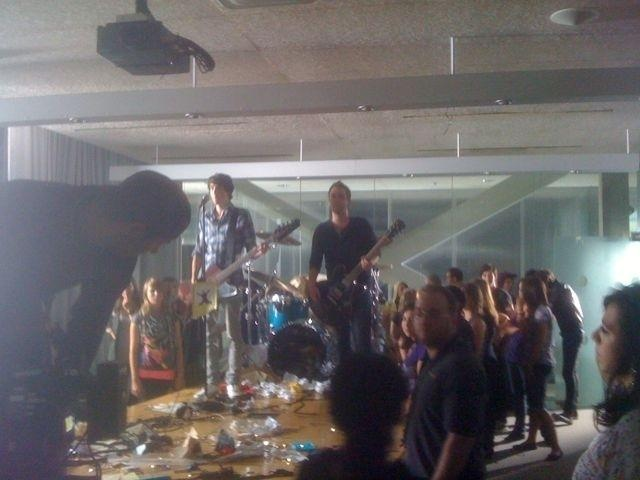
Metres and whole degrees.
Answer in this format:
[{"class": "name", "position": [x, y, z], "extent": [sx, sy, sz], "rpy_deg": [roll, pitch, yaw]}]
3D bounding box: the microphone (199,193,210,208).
[{"class": "microphone", "position": [-0.525, -0.177, 3.105], "extent": [0.044, 0.060, 0.013], "rpy_deg": [0, -6, -25]}]

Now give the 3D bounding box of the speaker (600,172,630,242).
[{"class": "speaker", "position": [1.421, -0.160, 3.305], "extent": [0.147, 0.308, 0.185], "rpy_deg": [-4, -6, 22]}]

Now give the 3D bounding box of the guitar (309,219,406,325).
[{"class": "guitar", "position": [0.174, 0.143, 3.241], "extent": [0.512, 0.183, 0.067], "rpy_deg": [-45, 1, -6]}]

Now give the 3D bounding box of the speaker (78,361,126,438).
[{"class": "speaker", "position": [-0.912, 0.692, 2.906], "extent": [0.163, 0.335, 0.127], "rpy_deg": [-1, -5, -16]}]

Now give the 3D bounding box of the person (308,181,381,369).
[{"class": "person", "position": [0.123, 0.159, 3.230], "extent": [0.339, 0.822, 0.083], "rpy_deg": [4, 12, 5]}]

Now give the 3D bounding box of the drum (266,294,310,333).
[{"class": "drum", "position": [-0.155, 0.331, 3.178], "extent": [0.175, 0.180, 0.179], "rpy_deg": [0, -18, 1]}]

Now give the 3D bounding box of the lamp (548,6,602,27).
[{"class": "lamp", "position": [1.485, -1.318, 4.028], "extent": [0.260, 0.046, 0.195], "rpy_deg": [-5, -7, 21]}]

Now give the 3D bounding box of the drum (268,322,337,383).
[{"class": "drum", "position": [-0.098, 0.519, 3.141], "extent": [0.223, 0.119, 0.310], "rpy_deg": [-10, -22, 12]}]
